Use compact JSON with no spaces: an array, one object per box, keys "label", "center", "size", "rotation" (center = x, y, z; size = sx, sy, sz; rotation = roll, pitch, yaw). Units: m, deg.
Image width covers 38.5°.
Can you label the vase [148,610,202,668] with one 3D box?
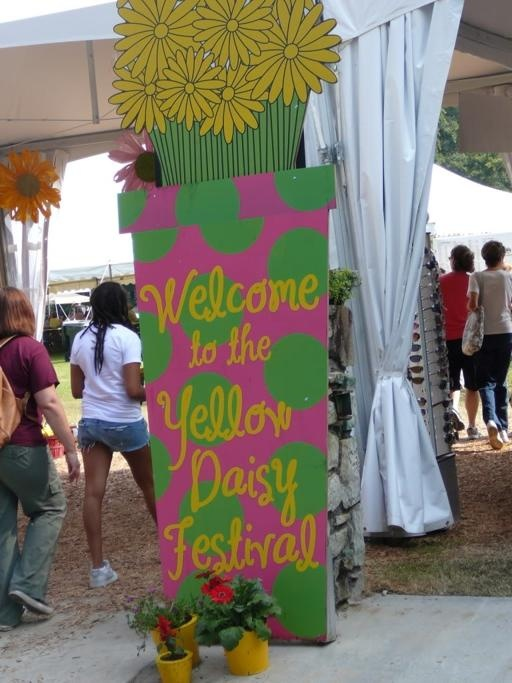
[{"label":"vase","center":[-0.259,1.032,2.492],"size":[0.160,0.153,0.188],"rotation":[-1,2,-12]}]

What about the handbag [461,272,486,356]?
[{"label":"handbag","center":[1.840,-0.222,6.196],"size":[0.152,0.673,0.625],"rotation":[3,-8,8]}]

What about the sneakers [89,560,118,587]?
[{"label":"sneakers","center":[-0.789,1.218,3.854],"size":[0.075,0.110,0.158],"rotation":[2,5,21]}]

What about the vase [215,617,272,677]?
[{"label":"vase","center":[-0.039,0.996,2.454],"size":[0.180,0.146,0.161],"rotation":[3,-9,-37]}]

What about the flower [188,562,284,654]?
[{"label":"flower","center":[-0.047,0.881,2.511],"size":[0.248,0.177,0.268],"rotation":[0,-5,18]}]

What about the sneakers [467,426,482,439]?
[{"label":"sneakers","center":[2.001,0.842,6.772],"size":[0.142,0.148,0.089],"rotation":[6,-13,-2]}]

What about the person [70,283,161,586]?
[{"label":"person","center":[-0.725,0.468,3.815],"size":[0.558,1.591,0.409],"rotation":[-2,2,18]}]

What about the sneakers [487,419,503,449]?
[{"label":"sneakers","center":[1.995,0.769,6.135],"size":[0.085,0.251,0.106],"rotation":[-11,0,-6]}]
